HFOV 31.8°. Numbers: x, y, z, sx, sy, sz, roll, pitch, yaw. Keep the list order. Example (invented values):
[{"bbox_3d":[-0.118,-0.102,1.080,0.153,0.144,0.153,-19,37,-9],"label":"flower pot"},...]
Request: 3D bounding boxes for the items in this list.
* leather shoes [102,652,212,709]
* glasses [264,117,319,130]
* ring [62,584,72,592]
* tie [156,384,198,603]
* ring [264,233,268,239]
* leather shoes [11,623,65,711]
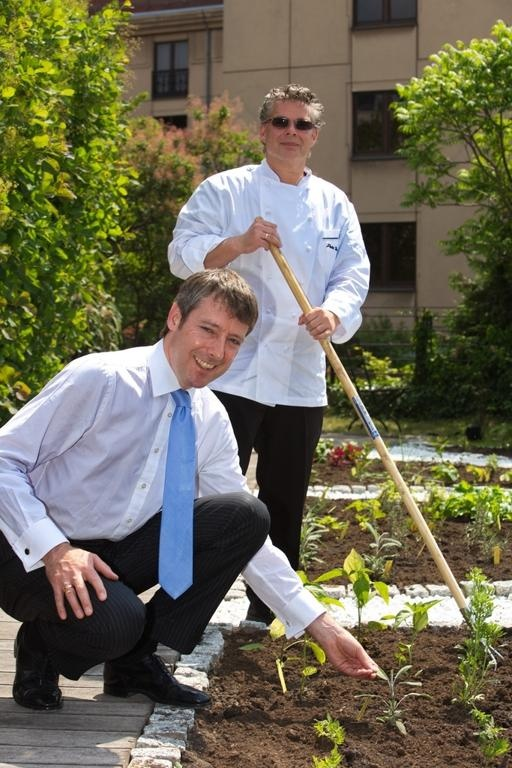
[{"bbox_3d":[-0.303,0.849,2.645,0.374,0.152,0.118,1,-4,18],"label":"leather shoes"},{"bbox_3d":[0.126,-0.908,3.141,0.168,0.050,0.058,0,4,-3],"label":"glasses"},{"bbox_3d":[-0.471,0.500,2.226,0.017,0.020,0.007,0,-7,4],"label":"ring"},{"bbox_3d":[-0.218,0.291,2.466,0.091,0.553,0.132,0,6,-5],"label":"tie"},{"bbox_3d":[0.031,-0.486,2.943,0.005,0.018,0.020,6,17,36],"label":"ring"},{"bbox_3d":[-0.608,0.799,2.475,0.110,0.169,0.270,4,-9,-24],"label":"leather shoes"}]
